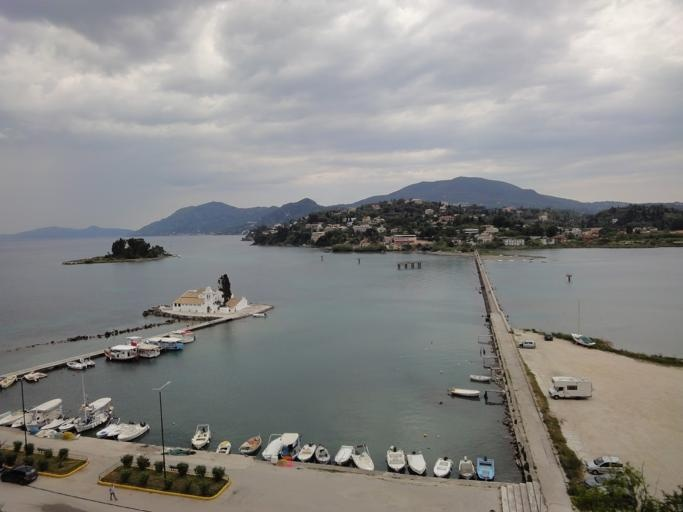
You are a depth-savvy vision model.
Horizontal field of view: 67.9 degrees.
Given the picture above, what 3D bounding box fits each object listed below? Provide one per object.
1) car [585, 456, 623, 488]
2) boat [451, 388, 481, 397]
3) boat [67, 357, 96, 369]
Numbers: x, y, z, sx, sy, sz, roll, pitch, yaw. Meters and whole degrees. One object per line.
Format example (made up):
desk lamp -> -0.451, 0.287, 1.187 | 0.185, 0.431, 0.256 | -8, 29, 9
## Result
car -> 13.523, 11.085, 26.090 | 2.065, 0.866, 1.062 | 0, 1, 1
boat -> 8.927, 9.807, 36.440 | 1.335, 0.279, 0.813 | 3, 12, 17
boat -> -22.278, 9.185, 43.678 | 1.685, 0.384, 0.919 | 3, 18, -22
